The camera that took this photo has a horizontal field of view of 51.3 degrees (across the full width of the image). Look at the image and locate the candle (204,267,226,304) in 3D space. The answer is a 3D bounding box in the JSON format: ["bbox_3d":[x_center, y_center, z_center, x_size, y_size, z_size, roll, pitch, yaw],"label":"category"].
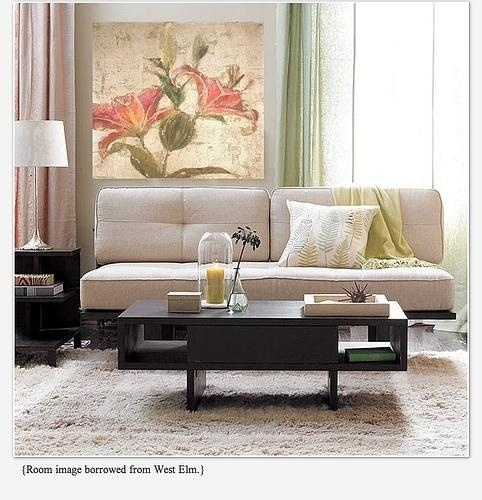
[{"bbox_3d":[-0.103,0.152,2.075,0.096,0.210,0.108,2,0,-10],"label":"candle"}]

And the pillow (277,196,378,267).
[{"bbox_3d":[0.512,-0.097,2.933,0.546,0.381,0.365,1,4,15],"label":"pillow"}]

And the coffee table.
[{"bbox_3d":[0.095,0.388,2.016,1.087,0.414,0.445,0,4,2],"label":"coffee table"}]

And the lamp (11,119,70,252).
[{"bbox_3d":[-1.260,-0.450,3.214,0.292,0.856,0.652,-2,4,-20],"label":"lamp"}]

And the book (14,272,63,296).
[{"bbox_3d":[-1.116,0.189,2.799,0.227,0.114,0.207,-1,4,-18],"label":"book"}]
